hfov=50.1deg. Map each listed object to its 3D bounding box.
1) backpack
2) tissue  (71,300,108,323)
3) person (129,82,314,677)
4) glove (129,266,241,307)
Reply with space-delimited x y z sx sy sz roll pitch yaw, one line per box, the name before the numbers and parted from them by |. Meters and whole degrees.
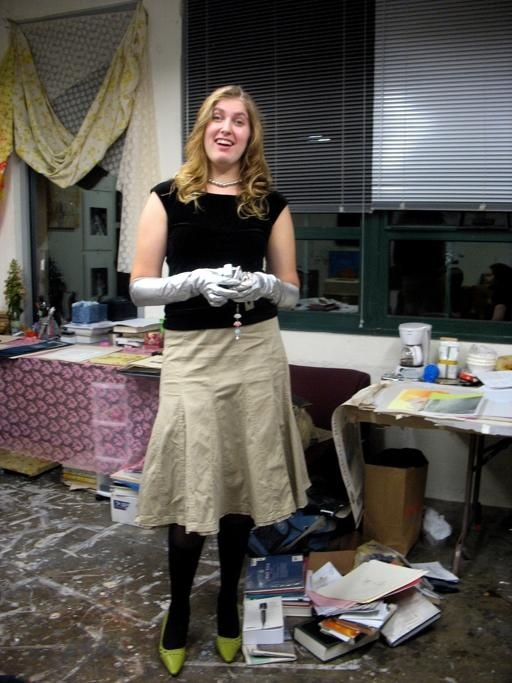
backpack | 0.160 0.706 2.183 0.383 0.139 0.282 -21 6 -19
tissue  | -1.042 -0.188 3.432 0.173 0.150 0.164 -1 2 -1
person | -0.087 0.131 1.453 0.395 1.569 0.419 2 4 21
glove | -0.172 -0.134 1.306 0.308 0.092 0.079 3 5 30
